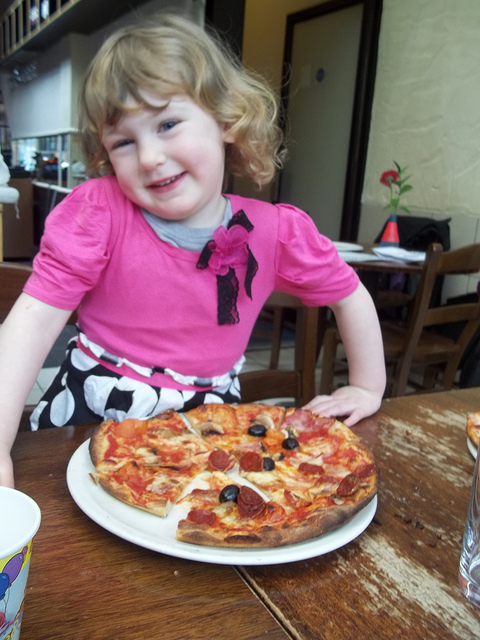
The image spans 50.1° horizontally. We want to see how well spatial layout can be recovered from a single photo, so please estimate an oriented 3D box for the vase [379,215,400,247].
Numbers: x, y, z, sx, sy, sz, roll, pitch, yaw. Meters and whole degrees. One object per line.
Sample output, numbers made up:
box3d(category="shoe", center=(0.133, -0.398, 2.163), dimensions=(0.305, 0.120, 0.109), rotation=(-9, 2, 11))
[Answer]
box3d(category="vase", center=(0.780, -0.460, 2.641), dimensions=(0.083, 0.151, 0.177), rotation=(9, 19, 13))
